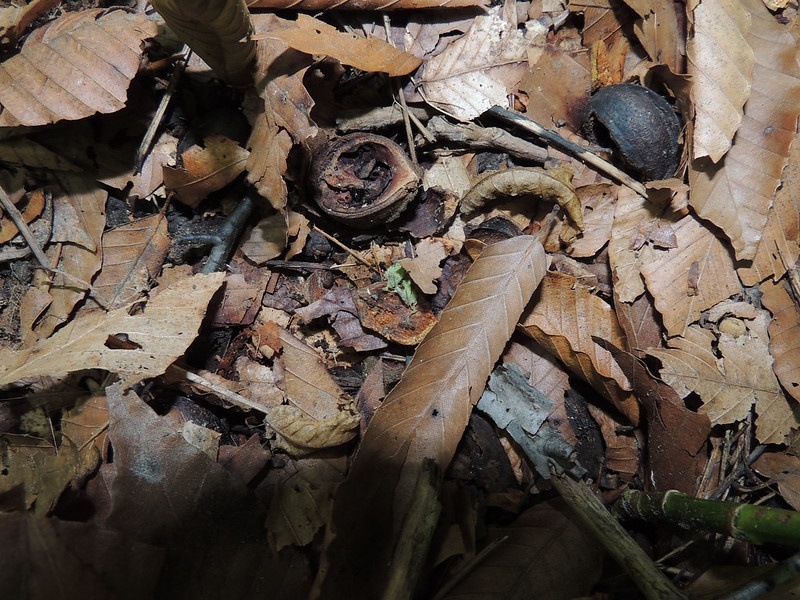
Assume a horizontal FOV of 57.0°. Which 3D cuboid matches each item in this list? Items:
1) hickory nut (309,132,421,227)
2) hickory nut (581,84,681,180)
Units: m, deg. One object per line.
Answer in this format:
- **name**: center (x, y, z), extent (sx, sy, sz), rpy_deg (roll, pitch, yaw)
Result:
- **hickory nut**: center (-0.119, -0.451, 3.081), extent (0.475, 0.414, 0.226), rpy_deg (-1, -34, 18)
- **hickory nut**: center (1.047, -0.693, 3.164), extent (0.417, 0.157, 0.473), rpy_deg (-23, 35, -5)
